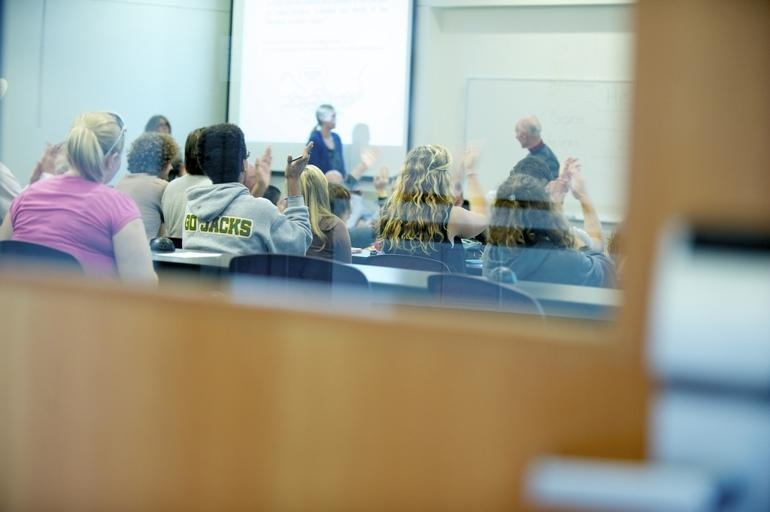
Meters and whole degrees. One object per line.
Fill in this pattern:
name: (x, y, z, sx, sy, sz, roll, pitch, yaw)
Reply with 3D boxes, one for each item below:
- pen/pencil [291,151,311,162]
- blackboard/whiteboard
pen/pencil: (-0.181, -0.215, 1.465, 0.053, 0.031, 0.015, 5, 5, 27)
blackboard/whiteboard: (0.319, -0.209, 1.290, 0.249, 0.275, 0.005, 4, 18, 14)
